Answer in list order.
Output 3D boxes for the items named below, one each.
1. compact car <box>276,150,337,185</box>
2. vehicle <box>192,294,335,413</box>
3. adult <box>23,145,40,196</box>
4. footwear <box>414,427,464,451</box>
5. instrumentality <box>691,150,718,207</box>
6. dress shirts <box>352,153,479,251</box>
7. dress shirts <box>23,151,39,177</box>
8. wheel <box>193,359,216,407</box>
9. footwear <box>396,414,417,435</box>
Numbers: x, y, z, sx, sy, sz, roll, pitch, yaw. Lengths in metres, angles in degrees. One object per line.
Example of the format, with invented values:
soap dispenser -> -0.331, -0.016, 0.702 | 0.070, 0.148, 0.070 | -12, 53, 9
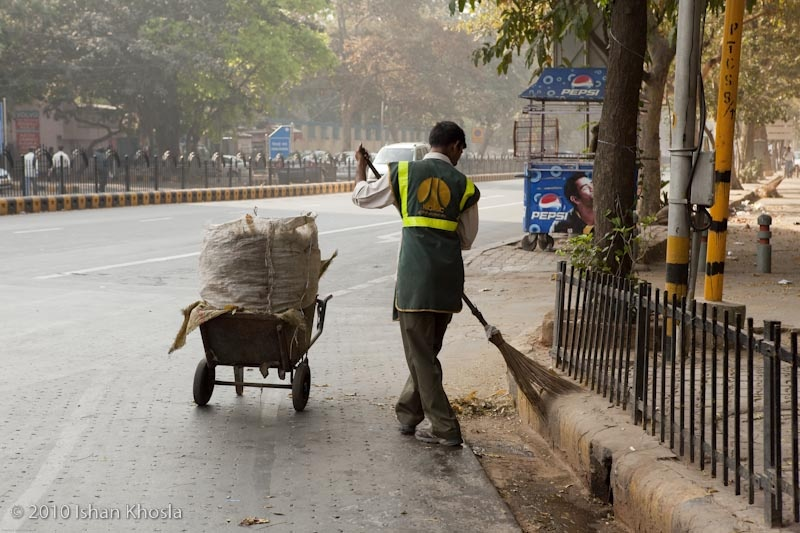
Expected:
compact car -> -4.031, -4.072, 38.916 | 1.230, 1.206, 5.509 | 1, 11, 13
vehicle -> -1.189, 0.816, 8.210 | 0.782, 0.827, 1.316 | -1, -10, 10
adult -> -10.224, -2.650, 25.518 | 0.311, 1.285, 0.290 | 4, 4, 34
footwear -> 0.310, 1.336, 7.324 | 0.380, 0.181, 0.143 | 11, 9, 20
instrumentality -> 2.535, -0.750, 7.716 | 0.183, 0.447, 0.155 | 2, 11, 16
dress shirts -> 0.123, -0.533, 7.569 | 0.607, 0.565, 1.058 | 1, -4, 17
dress shirts -> -10.170, -2.791, 25.287 | 0.382, 0.635, 0.704 | -6, 11, -20
wheel -> -1.687, 1.010, 7.904 | 0.128, 0.447, 0.393 | 3, 3, 6
footwear -> 0.055, 1.296, 7.435 | 0.085, 0.100, 0.234 | 2, -6, -9
